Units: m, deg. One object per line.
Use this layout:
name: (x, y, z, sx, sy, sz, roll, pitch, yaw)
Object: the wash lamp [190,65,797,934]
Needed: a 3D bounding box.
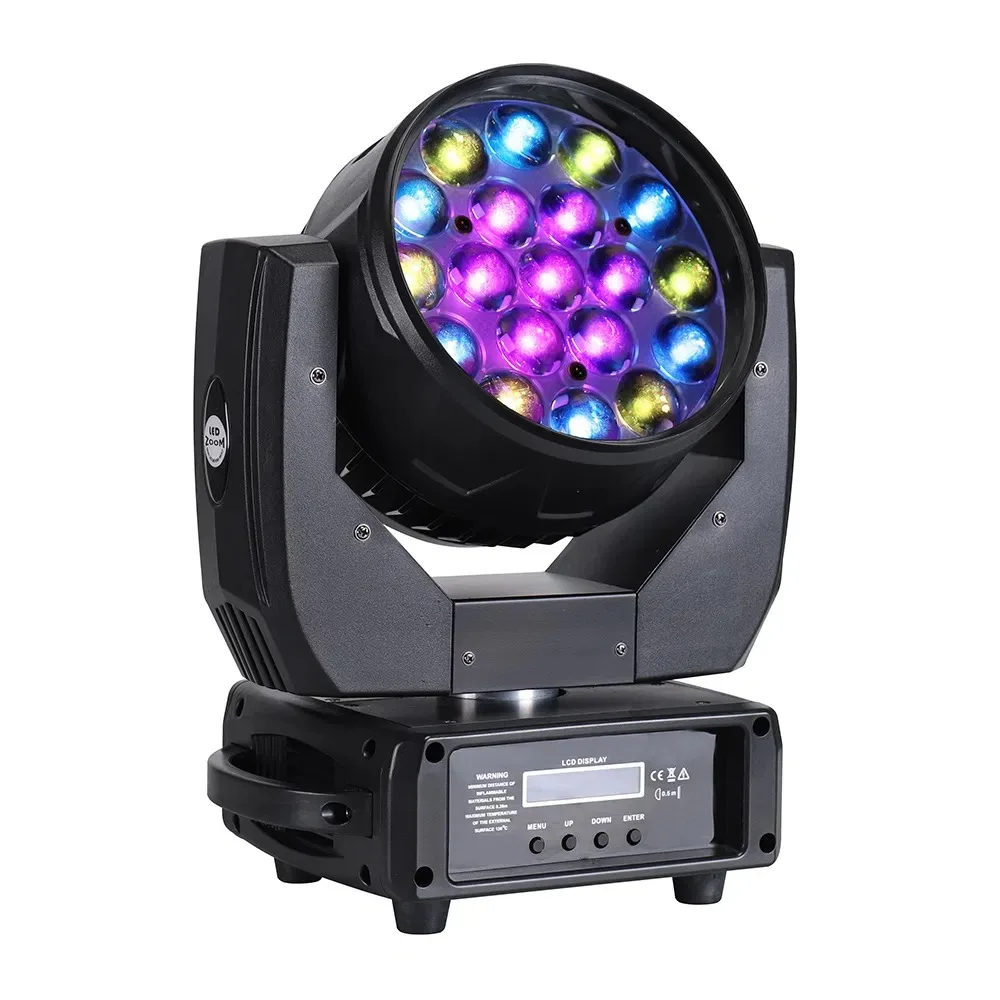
wash lamp: (0.017, -0.016, 1.700, 0.833, 1.014, 0.542, -2, 4, -35)
